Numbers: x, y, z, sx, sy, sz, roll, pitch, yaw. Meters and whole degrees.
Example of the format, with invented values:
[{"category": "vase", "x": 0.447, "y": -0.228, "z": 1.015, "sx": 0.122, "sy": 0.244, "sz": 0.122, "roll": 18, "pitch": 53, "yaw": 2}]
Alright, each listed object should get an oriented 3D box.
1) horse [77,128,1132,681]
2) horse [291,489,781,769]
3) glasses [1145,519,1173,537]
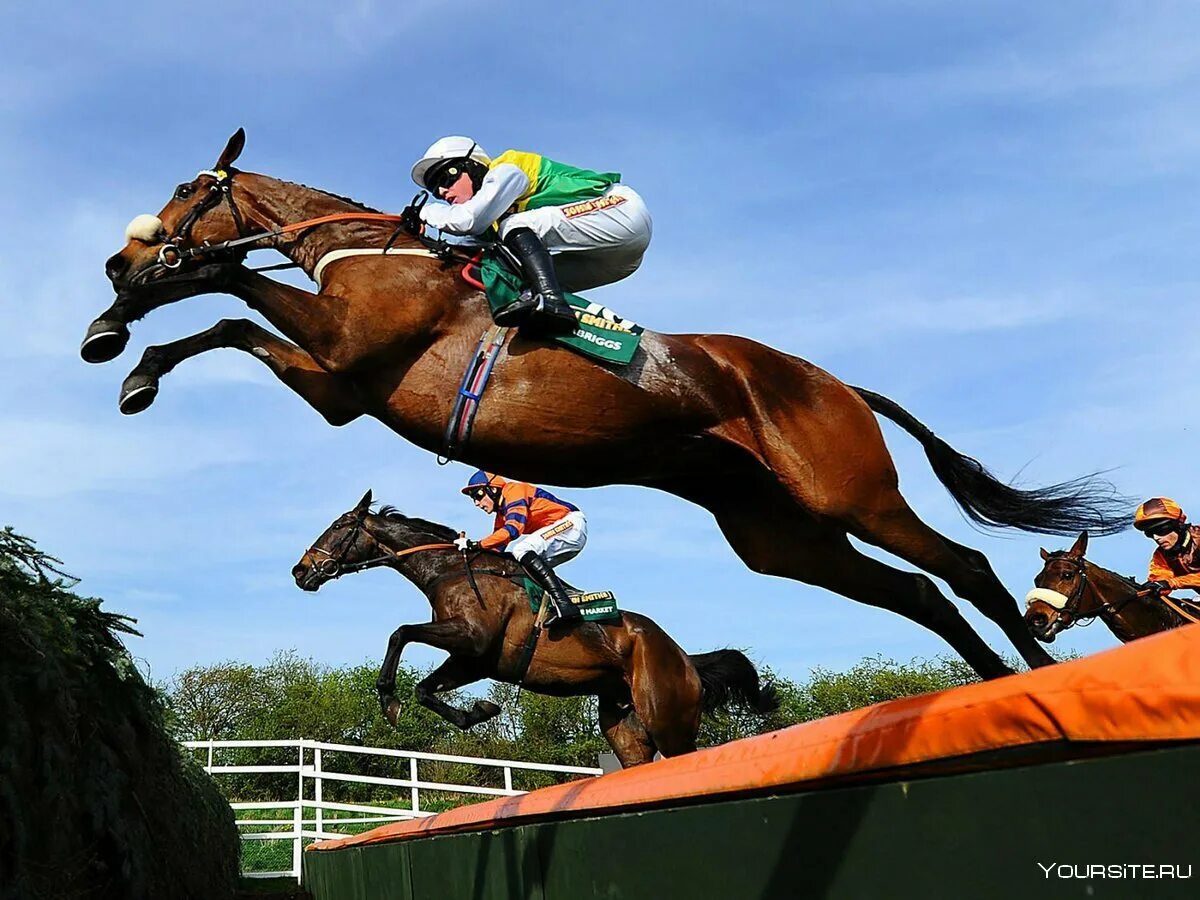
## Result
[{"category": "horse", "x": -0.221, "y": -0.244, "z": 5.217, "sx": 2.940, "sy": 2.384, "sz": 0.818, "roll": -9, "pitch": -15, "yaw": 4}, {"category": "horse", "x": -0.478, "y": 1.308, "z": 8.737, "sx": 3.376, "sy": 1.222, "sz": 0.598, "roll": 19, "pitch": -23, "yaw": -17}, {"category": "glasses", "x": 3.555, "y": 0.501, "z": 9.187, "sx": 0.118, "sy": 0.043, "sz": 0.162, "roll": -22, "pitch": -8, "yaw": 41}]
